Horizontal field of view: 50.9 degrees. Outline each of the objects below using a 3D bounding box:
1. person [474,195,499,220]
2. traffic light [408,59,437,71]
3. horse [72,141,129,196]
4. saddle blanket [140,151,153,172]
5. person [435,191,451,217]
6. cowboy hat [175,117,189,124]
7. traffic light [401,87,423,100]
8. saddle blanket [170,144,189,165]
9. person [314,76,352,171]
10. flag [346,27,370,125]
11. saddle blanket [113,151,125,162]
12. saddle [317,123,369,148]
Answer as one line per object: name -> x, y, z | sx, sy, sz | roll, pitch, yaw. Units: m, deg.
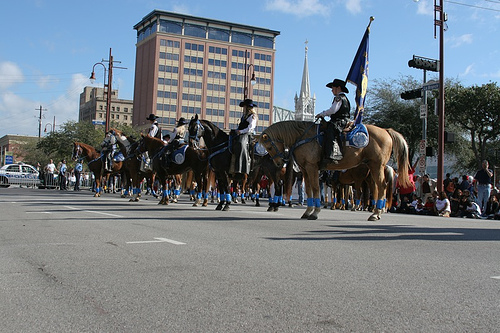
person -> 9.296, 1.566, 20.406 | 0.736, 0.965, 2.538 | 2, 1, 26
traffic light -> 8.684, -5.080, 26.228 | 0.614, 0.642, 2.362 | 2, 1, 37
horse -> -7.882, 0.188, 28.446 | 3.956, 2.733, 1.155 | 7, -17, -43
saddle blanket -> -4.321, -0.269, 21.619 | 0.471, 0.312, 0.719 | 15, 39, -18
person -> 7.640, 1.447, 20.713 | 0.602, 1.001, 1.277 | 1, 1, 20
cowboy hat -> -2.786, -1.897, 21.392 | 0.328, 0.145, 0.370 | 7, 6, -40
traffic light -> 8.118, -3.703, 26.335 | 0.886, 0.623, 1.084 | 2, 1, 33
saddle blanket -> -2.666, -0.446, 19.528 | 0.545, 0.774, 0.180 | 9, -8, 29
person -> 2.345, -1.221, 14.621 | 0.760, 2.633, 1.138 | 1, 0, 26
flag -> 4.013, -3.710, 18.988 | 0.540, 3.374, 0.462 | 9, -2, 44
saddle blanket -> -6.875, -0.577, 27.176 | 0.121, 0.505, 0.514 | 6, 20, 17
saddle -> 3.050, -0.984, 14.915 | 0.971, 0.832, 2.515 | -2, -1, 30
